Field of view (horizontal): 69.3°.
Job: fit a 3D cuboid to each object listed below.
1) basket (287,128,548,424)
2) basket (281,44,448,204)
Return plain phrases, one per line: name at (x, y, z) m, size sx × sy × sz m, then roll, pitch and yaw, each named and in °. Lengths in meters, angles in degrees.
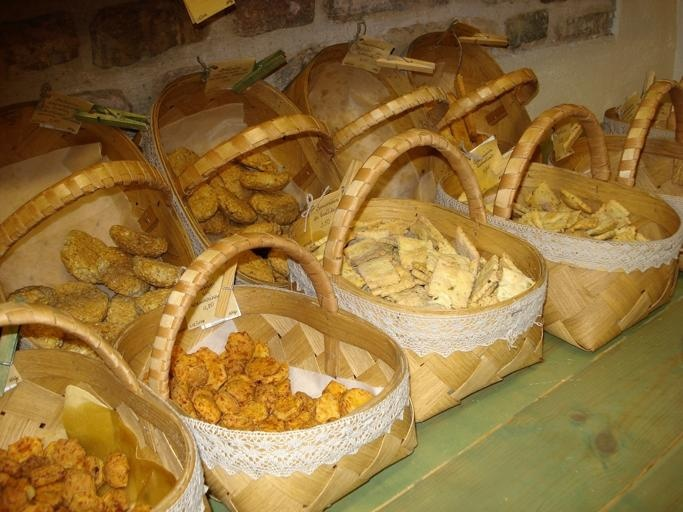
basket at (0.219, 0.070, 1.395) m, size 0.541 × 0.603 × 0.723 m, roll -34°, pitch 51°, yaw -24°
basket at (0.115, -0.523, 1.874) m, size 0.551 × 0.626 × 0.212 m, roll -31°, pitch 57°, yaw -13°
